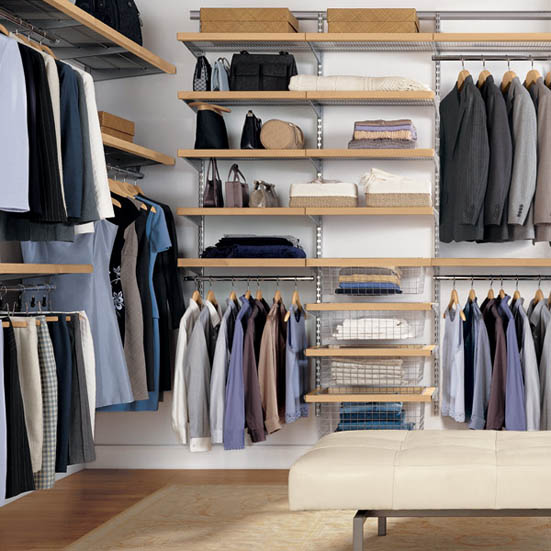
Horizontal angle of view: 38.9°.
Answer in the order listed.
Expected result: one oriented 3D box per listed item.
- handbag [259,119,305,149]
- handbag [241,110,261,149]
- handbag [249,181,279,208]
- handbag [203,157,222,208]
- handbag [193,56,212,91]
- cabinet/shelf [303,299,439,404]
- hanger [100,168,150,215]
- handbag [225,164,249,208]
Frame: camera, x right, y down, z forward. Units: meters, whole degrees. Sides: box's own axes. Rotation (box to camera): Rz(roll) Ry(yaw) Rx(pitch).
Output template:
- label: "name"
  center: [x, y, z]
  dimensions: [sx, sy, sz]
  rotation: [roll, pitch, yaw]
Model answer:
- label: "handbag"
  center: [0.027, -0.760, 4.274]
  dimensions: [0.163, 0.175, 0.183]
  rotation: [0, -1, 9]
- label: "handbag"
  center: [-0.137, -0.810, 4.334]
  dimensions: [0.091, 0.246, 0.233]
  rotation: [0, 2, 4]
- label: "handbag"
  center: [-0.066, -0.432, 4.323]
  dimensions: [0.111, 0.182, 0.227]
  rotation: [-5, -5, 23]
- label: "handbag"
  center: [-0.353, -0.520, 4.354]
  dimensions: [0.088, 0.343, 0.263]
  rotation: [-1, 0, 3]
- label: "handbag"
  center: [-0.407, -1.124, 4.342]
  dimensions: [0.084, 0.255, 0.238]
  rotation: [1, 1, 5]
- label: "cabinet/shelf"
  center: [0.483, 0.382, 3.987]
  dimensions: [0.638, 0.332, 0.443]
  rotation: [-2, 1, 11]
- label: "hanger"
  center: [-0.762, -0.426, 3.924]
  dimensions: [0.112, 0.239, 0.341]
  rotation: [-4, 2, 12]
- label: "handbag"
  center: [-0.216, -0.503, 4.374]
  dimensions: [0.081, 0.283, 0.255]
  rotation: [-1, -1, 5]
